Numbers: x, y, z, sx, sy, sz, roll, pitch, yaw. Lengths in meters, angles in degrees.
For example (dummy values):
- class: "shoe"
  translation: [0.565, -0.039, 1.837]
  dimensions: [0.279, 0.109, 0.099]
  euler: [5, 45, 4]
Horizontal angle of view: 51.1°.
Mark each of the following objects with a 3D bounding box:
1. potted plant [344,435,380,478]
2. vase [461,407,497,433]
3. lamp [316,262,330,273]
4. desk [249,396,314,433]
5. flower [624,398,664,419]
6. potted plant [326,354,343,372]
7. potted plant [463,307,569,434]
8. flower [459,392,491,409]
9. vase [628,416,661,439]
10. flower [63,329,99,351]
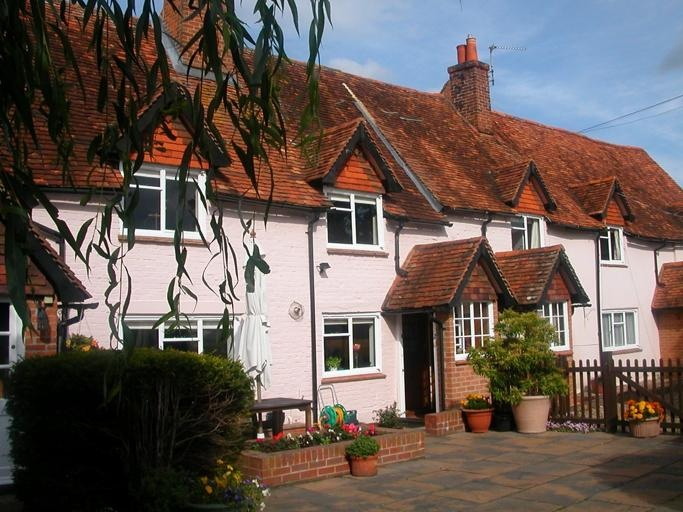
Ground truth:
- class: "potted plant"
  translation: [0.390, 3.753, 13.461]
  dimensions: [0.723, 0.767, 0.754]
  euler: [-14, -23, 31]
- class: "vase"
  translation: [3.295, 3.956, 17.340]
  dimensions: [0.573, 0.424, 0.609]
  euler: [-1, -14, 5]
- class: "lamp"
  translation: [-0.405, 0.287, 17.566]
  dimensions: [0.174, 0.271, 0.451]
  euler: [-10, -13, 39]
- class: "desk"
  translation: [-1.219, 3.189, 14.431]
  dimensions: [1.139, 0.661, 2.879]
  euler: [-1, -11, -7]
- class: "flower"
  translation: [6.788, 3.437, 16.014]
  dimensions: [0.798, 0.425, 0.602]
  euler: [0, -11, -10]
- class: "potted plant"
  translation: [-0.206, 2.625, 17.608]
  dimensions: [0.348, 0.324, 0.363]
  euler: [-4, -1, -29]
- class: "potted plant"
  translation: [4.286, 2.717, 17.093]
  dimensions: [2.056, 2.973, 1.027]
  euler: [-5, -10, 17]
- class: "flower"
  translation: [3.249, 3.539, 17.404]
  dimensions: [0.433, 0.297, 0.449]
  euler: [1, -8, -6]
- class: "vase"
  translation: [6.663, 3.775, 15.767]
  dimensions: [0.485, 0.317, 0.470]
  euler: [9, -14, -41]
- class: "flower"
  translation: [-4.895, 1.594, 13.486]
  dimensions: [0.596, 0.373, 0.928]
  euler: [2, -12, -19]
